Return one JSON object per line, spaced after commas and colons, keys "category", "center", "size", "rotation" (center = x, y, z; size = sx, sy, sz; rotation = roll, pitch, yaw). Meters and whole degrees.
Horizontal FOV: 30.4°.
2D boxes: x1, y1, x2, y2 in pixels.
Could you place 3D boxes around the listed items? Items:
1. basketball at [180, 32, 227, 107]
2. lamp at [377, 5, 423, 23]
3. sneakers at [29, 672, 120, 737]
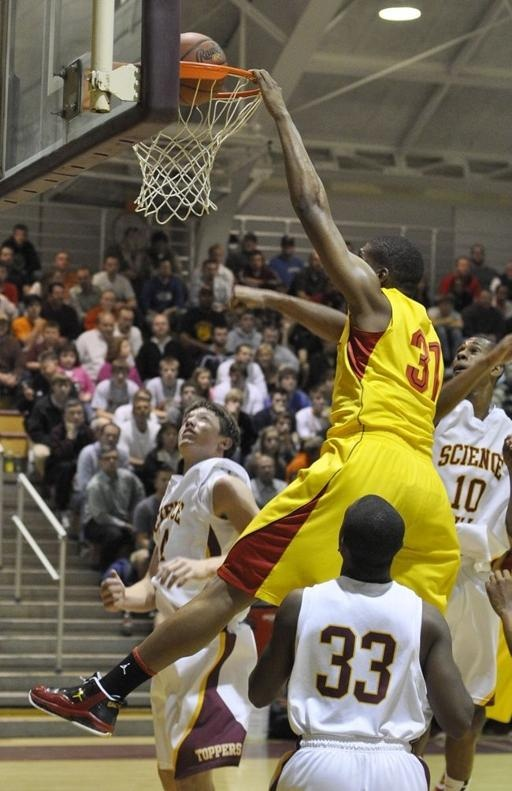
{"category": "basketball", "center": [-0.183, -1.037, 2.985], "size": [0.209, 0.192, 0.186], "rotation": [7, 12, 10]}
{"category": "lamp", "center": [1.596, -4.257, 10.506], "size": [0.499, 0.137, 0.231], "rotation": [6, -5, -24]}
{"category": "sneakers", "center": [-0.494, 0.839, 2.618], "size": [0.303, 0.144, 0.099], "rotation": [9, -11, 29]}
